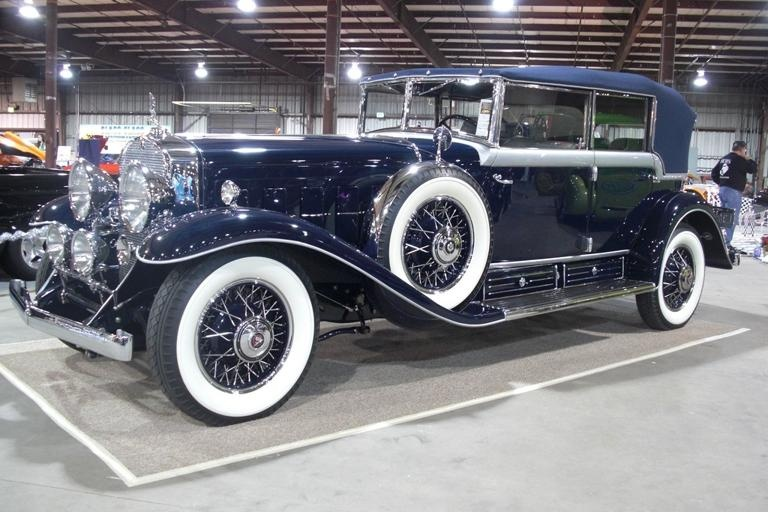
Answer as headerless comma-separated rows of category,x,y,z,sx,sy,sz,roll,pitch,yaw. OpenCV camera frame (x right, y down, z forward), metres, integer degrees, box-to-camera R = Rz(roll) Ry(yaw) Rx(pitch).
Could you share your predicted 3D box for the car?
car,0.395,-0.347,4.399,4.884,2.330,1.264,-4,13,-24
